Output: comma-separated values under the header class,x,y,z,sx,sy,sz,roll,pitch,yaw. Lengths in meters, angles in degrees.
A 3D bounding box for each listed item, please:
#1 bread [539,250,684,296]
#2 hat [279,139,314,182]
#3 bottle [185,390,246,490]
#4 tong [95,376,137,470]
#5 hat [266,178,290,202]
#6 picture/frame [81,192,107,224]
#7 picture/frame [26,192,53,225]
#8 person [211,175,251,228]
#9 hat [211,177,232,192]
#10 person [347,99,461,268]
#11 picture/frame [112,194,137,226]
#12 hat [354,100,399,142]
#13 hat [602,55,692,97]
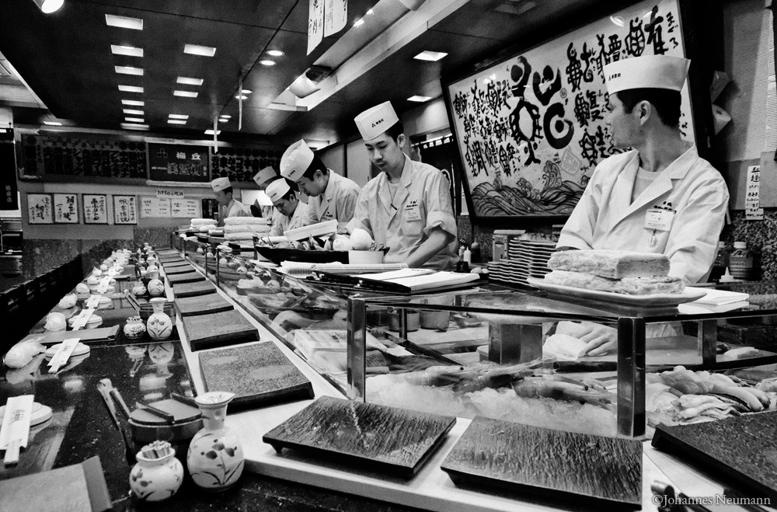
class,x,y,z,sx,sy,sz,roll,pitch,yaw
bread,0.708,0.033,1.629,0.196,0.089,0.265,-1,3,-27
hat,-0.903,-0.921,4.914,0.230,0.405,0.414,-13,16,-40
bottle,-0.519,0.551,1.479,0.161,0.262,0.119,-9,13,-26
tong,-1.068,0.508,1.987,0.125,0.111,1.042,-2,10,-26
hat,-1.300,-0.734,5.856,0.226,0.187,0.295,-53,22,-21
picture/frame,-5.349,-0.869,9.009,0.560,0.752,0.073,-2,3,-31
picture/frame,-6.113,-0.834,8.690,0.545,0.763,0.052,-3,-1,-27
person,-2.451,-0.859,7.784,0.473,0.701,1.779,-7,12,-17
hat,-2.571,-1.076,7.747,0.330,0.198,0.335,7,18,43
person,0.060,-0.537,3.880,0.547,1.266,0.937,-14,16,-43
picture/frame,-4.920,-0.861,9.237,0.533,0.708,0.092,-5,10,-27
hat,-0.134,-0.996,3.844,0.354,0.219,0.277,-29,18,26
hat,1.302,-0.926,2.566,0.269,0.104,0.293,-4,7,-32
